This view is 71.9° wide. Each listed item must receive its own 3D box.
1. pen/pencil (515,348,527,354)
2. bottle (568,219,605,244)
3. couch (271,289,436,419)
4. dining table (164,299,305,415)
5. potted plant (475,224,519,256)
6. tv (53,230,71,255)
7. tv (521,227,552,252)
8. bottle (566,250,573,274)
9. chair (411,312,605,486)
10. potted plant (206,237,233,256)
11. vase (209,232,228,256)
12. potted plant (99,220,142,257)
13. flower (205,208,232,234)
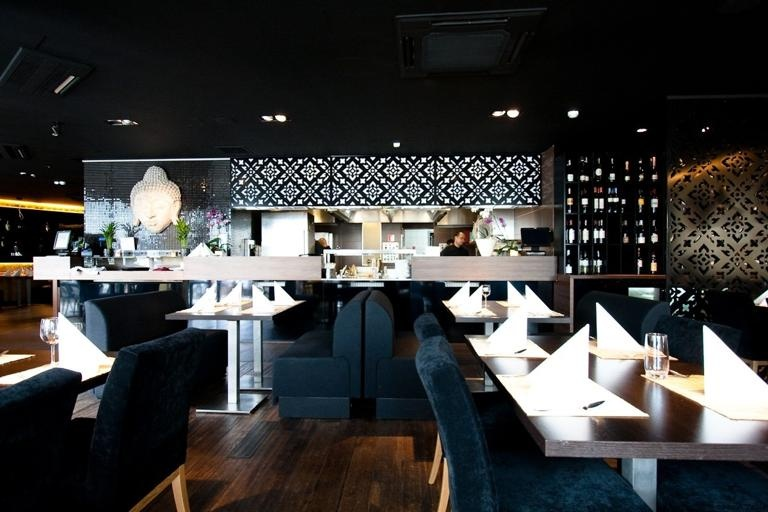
[{"bbox_3d":[0.906,0.626,3.489,0.100,0.012,0.023,-12,18,-40],"label":"pen/pencil"},{"bbox_3d":[2.753,-0.335,7.179,0.342,0.242,0.069,1,-2,-5],"label":"bottle"},{"bbox_3d":[-0.298,0.802,4.834,1.164,0.721,1.161,1,-2,2],"label":"couch"},{"bbox_3d":[-1.418,0.959,4.974,0.879,0.782,1.618,1,-3,1],"label":"dining table"},{"bbox_3d":[1.352,-0.207,6.444,0.561,0.388,0.418,2,0,-1],"label":"potted plant"},{"bbox_3d":[-4.354,-0.189,7.180,0.200,0.256,0.322,-2,1,-32],"label":"tv"},{"bbox_3d":[1.989,-0.226,6.931,0.363,0.258,0.180,1,3,10],"label":"tv"},{"bbox_3d":[2.508,0.057,7.140,0.078,0.322,0.185,0,1,36],"label":"bottle"},{"bbox_3d":[0.604,0.687,3.240,0.934,1.116,1.209,-2,0,-6],"label":"chair"},{"bbox_3d":[-2.167,-0.129,6.954,0.378,0.249,0.371,0,-7,-10],"label":"potted plant"},{"bbox_3d":[-2.247,-0.160,7.223,0.361,0.350,0.354,-2,2,-11],"label":"vase"},{"bbox_3d":[-3.894,-0.252,7.771,0.574,0.545,0.565,1,-2,-16],"label":"potted plant"},{"bbox_3d":[-2.435,-0.511,7.753,0.397,0.359,0.092,3,4,-4],"label":"flower"}]
